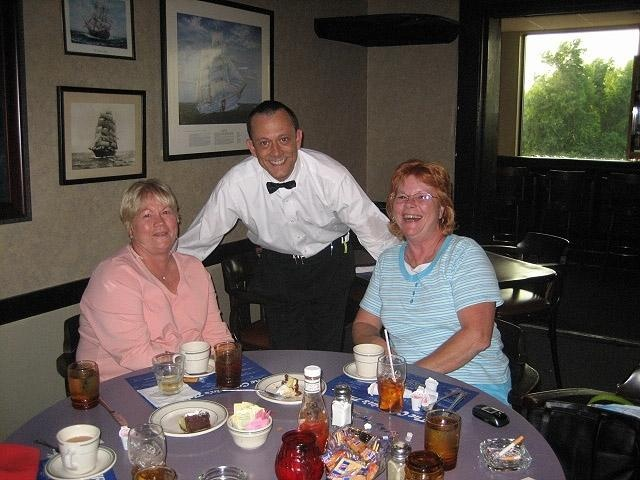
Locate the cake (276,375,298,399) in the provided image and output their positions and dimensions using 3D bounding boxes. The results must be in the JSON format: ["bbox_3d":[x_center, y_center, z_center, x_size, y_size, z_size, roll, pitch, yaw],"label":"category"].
[{"bbox_3d":[-0.106,0.509,1.796,0.058,0.066,0.029,5,-25,2],"label":"cake"}]

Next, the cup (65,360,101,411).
[{"bbox_3d":[-0.793,0.494,1.785,0.091,0.135,0.142,-2,2,-3],"label":"cup"}]

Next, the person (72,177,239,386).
[{"bbox_3d":[-0.728,0.178,2.367,0.597,0.885,0.608,3,7,24],"label":"person"}]

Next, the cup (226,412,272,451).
[{"bbox_3d":[-0.200,0.606,1.589,0.146,0.081,0.148,-5,-10,-1],"label":"cup"}]

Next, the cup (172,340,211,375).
[{"bbox_3d":[-0.466,0.439,1.949,0.101,0.085,0.120,1,6,0],"label":"cup"}]

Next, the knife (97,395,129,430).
[{"bbox_3d":[-0.717,0.564,1.783,0.046,0.022,0.384,-11,15,-28],"label":"knife"}]

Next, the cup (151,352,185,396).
[{"bbox_3d":[-0.523,0.483,1.874,0.128,0.144,0.128,-5,1,0],"label":"cup"}]

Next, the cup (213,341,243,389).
[{"bbox_3d":[-0.333,0.456,1.887,0.104,0.160,0.102,-3,-1,0],"label":"cup"}]

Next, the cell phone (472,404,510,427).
[{"bbox_3d":[0.542,0.545,1.640,0.051,0.027,0.090,-7,8,-31],"label":"cell phone"}]

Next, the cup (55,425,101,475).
[{"bbox_3d":[-0.678,0.587,1.464,0.117,0.106,0.085,2,14,10],"label":"cup"}]

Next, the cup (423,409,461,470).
[{"bbox_3d":[0.357,0.577,1.501,0.091,0.142,0.085,0,6,0],"label":"cup"}]

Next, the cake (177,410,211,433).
[{"bbox_3d":[-0.387,0.560,1.634,0.070,0.048,0.051,-1,1,-24],"label":"cake"}]
